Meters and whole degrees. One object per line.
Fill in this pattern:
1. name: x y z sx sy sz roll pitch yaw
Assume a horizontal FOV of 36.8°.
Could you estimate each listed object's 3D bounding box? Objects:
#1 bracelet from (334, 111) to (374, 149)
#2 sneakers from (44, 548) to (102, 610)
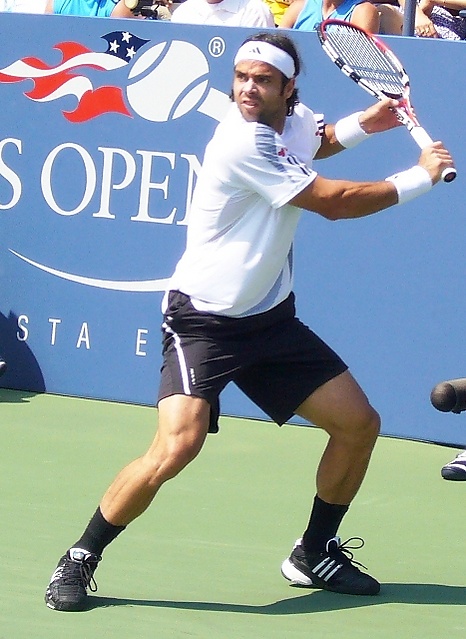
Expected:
1. bracelet: 0.400 -0.650 2.486 0.139 0.106 0.132 -21 -33 27
2. sneakers: -0.452 0.752 2.013 0.131 0.200 0.112 16 13 -11
